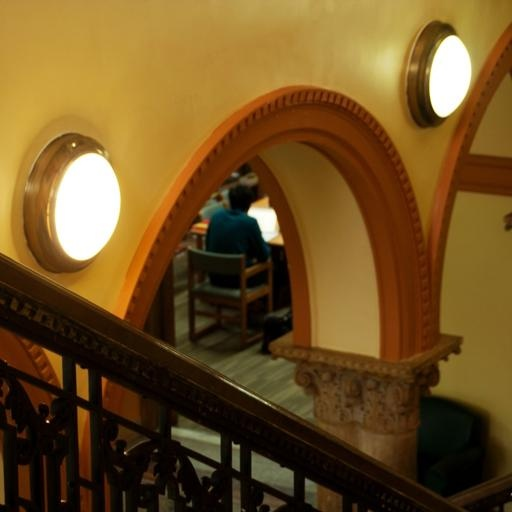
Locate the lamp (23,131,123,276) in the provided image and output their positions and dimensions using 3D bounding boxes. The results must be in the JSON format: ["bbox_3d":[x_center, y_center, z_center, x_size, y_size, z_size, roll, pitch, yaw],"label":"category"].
[{"bbox_3d":[-0.473,-0.130,1.689,0.189,0.278,0.277,-17,-45,23],"label":"lamp"}]

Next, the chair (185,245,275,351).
[{"bbox_3d":[-0.317,0.374,7.326,0.653,0.784,1.335,6,-73,20],"label":"chair"}]

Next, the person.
[{"bbox_3d":[-0.209,-0.162,7.066,0.759,0.867,1.440,9,-69,21],"label":"person"}]

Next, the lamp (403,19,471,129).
[{"bbox_3d":[0.808,-0.846,3.066,0.111,0.465,0.372,5,-8,35],"label":"lamp"}]
